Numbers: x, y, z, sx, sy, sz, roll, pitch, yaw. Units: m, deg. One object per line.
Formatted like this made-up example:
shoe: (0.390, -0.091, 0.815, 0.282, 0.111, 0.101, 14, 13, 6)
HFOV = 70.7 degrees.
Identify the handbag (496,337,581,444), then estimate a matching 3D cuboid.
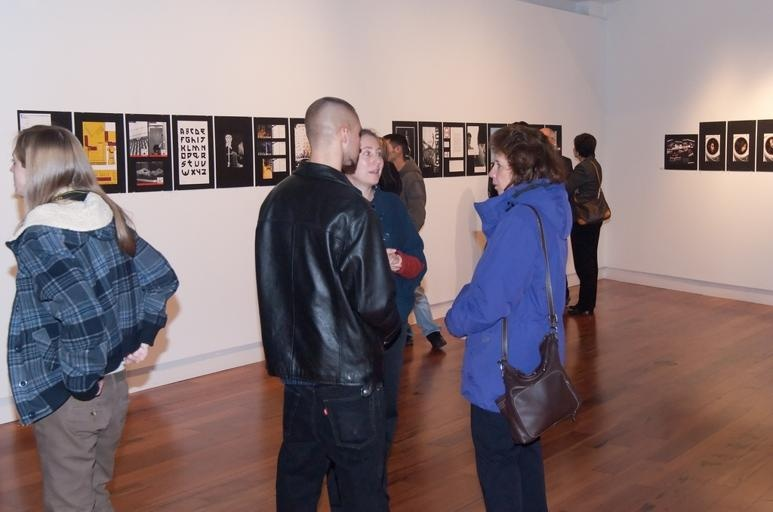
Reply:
handbag: (0.797, 0.682, 2.884, 0.409, 0.494, 0.201, -8, 13, -28)

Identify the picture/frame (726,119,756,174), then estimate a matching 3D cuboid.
picture/frame: (5.255, -1.646, 8.082, 0.389, 0.739, 0.164, 7, 14, 38)
